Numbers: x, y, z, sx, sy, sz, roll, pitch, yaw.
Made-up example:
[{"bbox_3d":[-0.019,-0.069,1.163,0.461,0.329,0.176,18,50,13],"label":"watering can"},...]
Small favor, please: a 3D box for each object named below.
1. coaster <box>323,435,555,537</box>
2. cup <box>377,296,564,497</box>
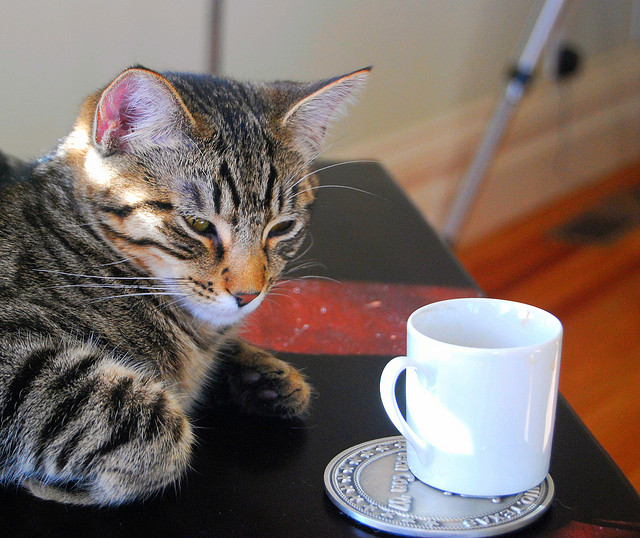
[{"bbox_3d":[0.127,0.254,0.737,0.152,0.015,0.150,-3,20,-6],"label":"coaster"},{"bbox_3d":[0.155,0.143,0.739,0.216,0.171,0.164,-8,15,-29],"label":"cup"}]
